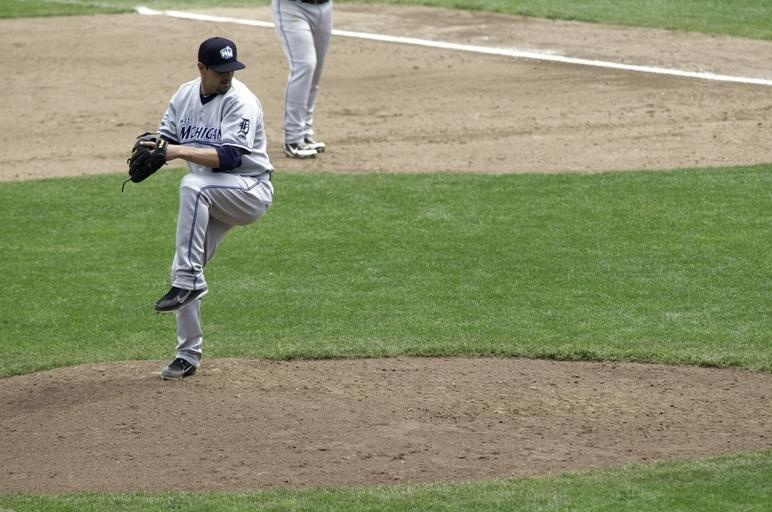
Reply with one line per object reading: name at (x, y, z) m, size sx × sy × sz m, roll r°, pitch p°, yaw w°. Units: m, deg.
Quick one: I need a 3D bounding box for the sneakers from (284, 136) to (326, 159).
sneakers at (-1.100, -1.461, 22.533) m, size 0.448 × 0.125 × 0.303 m, roll 4°, pitch 16°, yaw 25°

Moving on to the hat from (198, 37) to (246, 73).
hat at (-1.767, -2.139, 17.901) m, size 0.526 × 0.235 × 0.360 m, roll 19°, pitch 30°, yaw 33°
